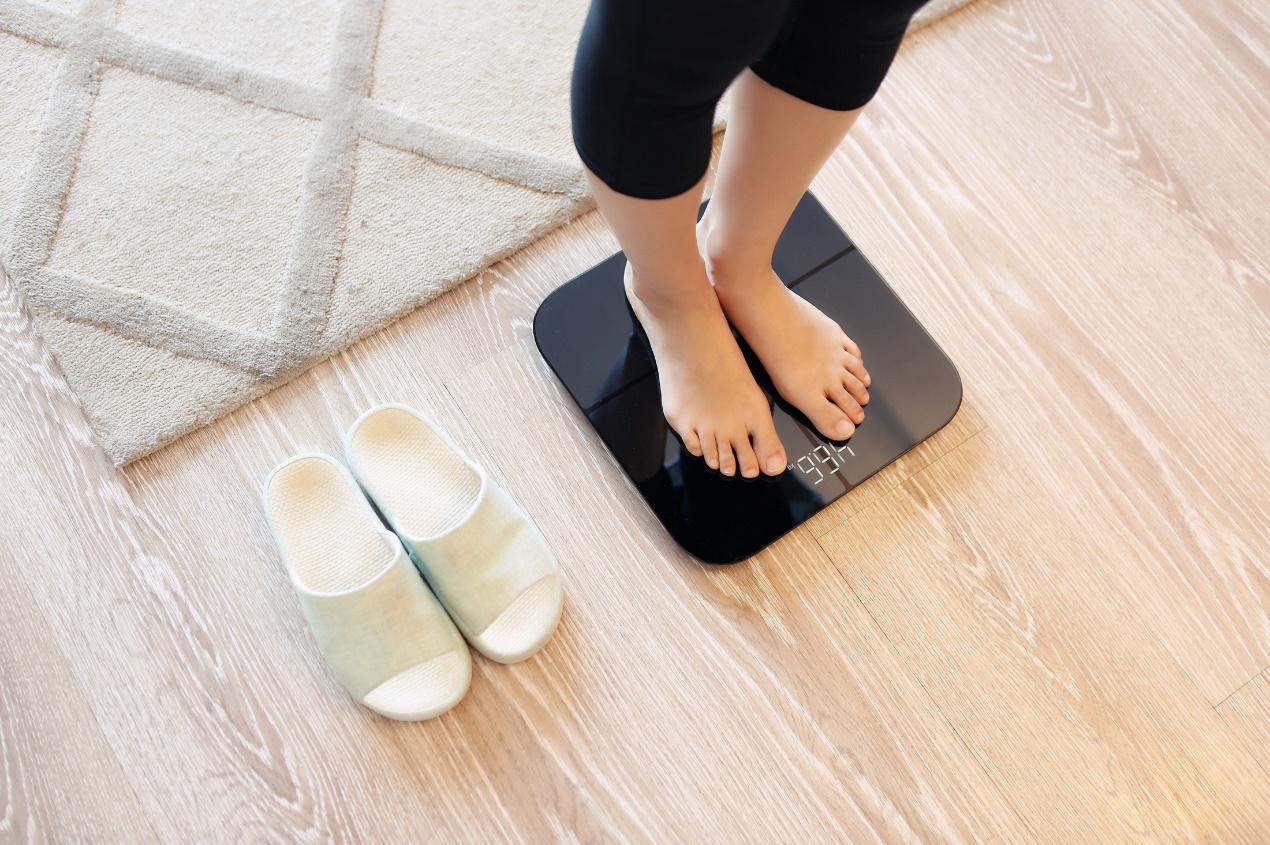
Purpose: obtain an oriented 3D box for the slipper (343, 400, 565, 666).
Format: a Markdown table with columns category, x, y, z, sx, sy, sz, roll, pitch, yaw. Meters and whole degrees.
| category | x | y | z | sx | sy | sz | roll | pitch | yaw |
| --- | --- | --- | --- | --- | --- | --- | --- | --- | --- |
| slipper | -0.248 | 0.152 | 1.423 | 0.193 | 0.118 | 0.452 | -38 | 90 | -11 |
